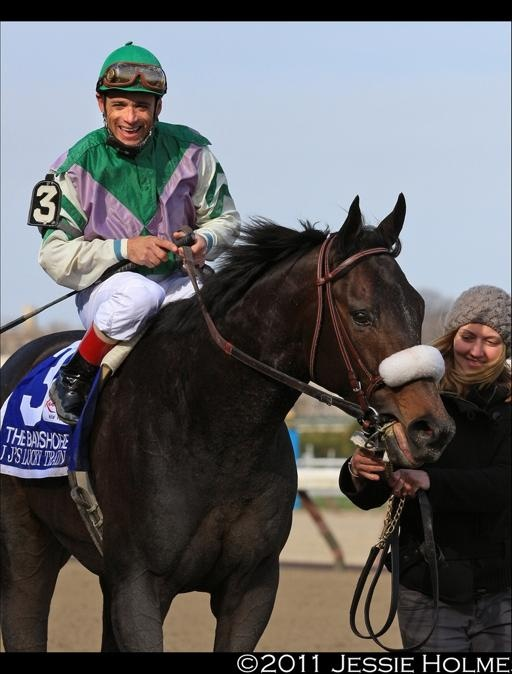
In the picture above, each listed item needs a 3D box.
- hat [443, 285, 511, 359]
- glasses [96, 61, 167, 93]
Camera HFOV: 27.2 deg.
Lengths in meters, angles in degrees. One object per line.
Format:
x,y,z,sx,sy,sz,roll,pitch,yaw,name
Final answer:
0.671,-0.037,3.225,0.240,0.216,0.263,11,-1,-4,hat
-0.397,-0.850,3.476,0.218,0.104,0.129,-2,19,-7,glasses
